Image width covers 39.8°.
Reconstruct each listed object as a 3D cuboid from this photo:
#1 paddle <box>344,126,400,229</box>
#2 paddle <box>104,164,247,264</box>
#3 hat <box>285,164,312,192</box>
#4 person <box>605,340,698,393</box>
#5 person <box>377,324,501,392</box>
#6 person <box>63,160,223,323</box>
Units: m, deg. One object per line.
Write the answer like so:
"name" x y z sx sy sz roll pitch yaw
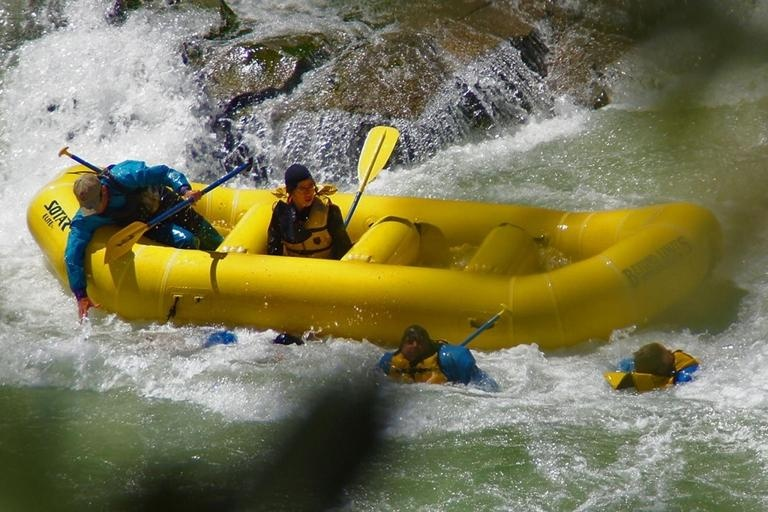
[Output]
"paddle" -0.129 -0.833 11.792 0.229 0.105 1.473 21 68 24
"paddle" -2.147 -0.437 10.592 1.595 0.218 0.069 -34 48 -6
"hat" -0.871 -0.782 10.566 0.274 0.237 0.253 -21 10 11
"person" 2.599 1.077 9.909 0.791 0.253 0.670 -9 13 -13
"person" 0.505 0.974 10.458 1.093 0.569 1.407 3 1 18
"person" -2.387 -0.213 11.067 1.714 0.596 1.345 33 62 13
